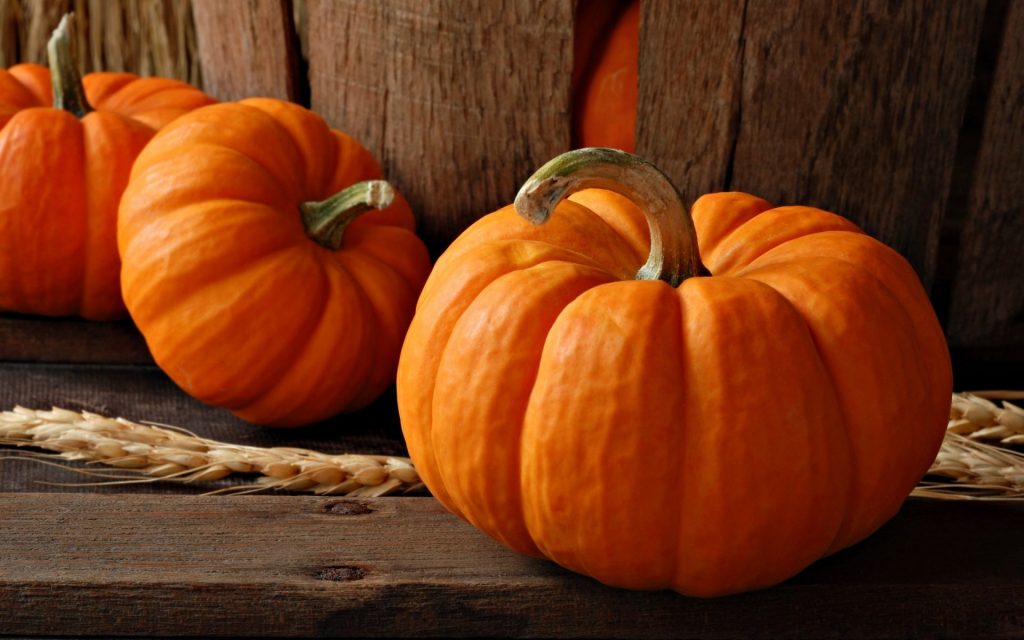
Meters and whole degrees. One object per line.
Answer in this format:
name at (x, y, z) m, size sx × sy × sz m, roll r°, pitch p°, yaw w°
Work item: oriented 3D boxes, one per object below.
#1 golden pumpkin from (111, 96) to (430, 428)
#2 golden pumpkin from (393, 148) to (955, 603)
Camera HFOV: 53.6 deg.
golden pumpkin at (-0.686, -0.131, 2.718) m, size 0.686 × 0.789 × 0.923 m, roll -22°, pitch -10°, yaw 42°
golden pumpkin at (0.331, -0.023, 2.399) m, size 1.378 × 0.791 × 1.138 m, roll 3°, pitch 32°, yaw -3°
